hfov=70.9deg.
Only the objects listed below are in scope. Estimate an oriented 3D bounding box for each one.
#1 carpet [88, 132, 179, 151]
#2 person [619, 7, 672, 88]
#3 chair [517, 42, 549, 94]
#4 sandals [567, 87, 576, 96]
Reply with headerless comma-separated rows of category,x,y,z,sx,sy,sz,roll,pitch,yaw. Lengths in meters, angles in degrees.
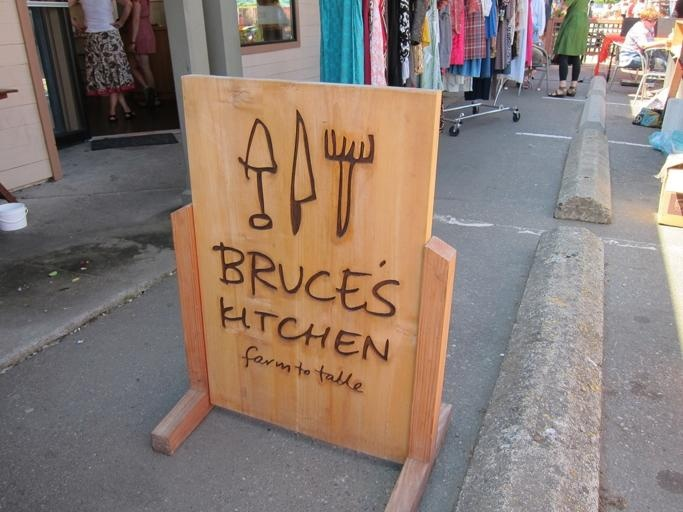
carpet,-2.814,-1.589,6.523,1.188,0.049,0.802,-7,27,-13
person,6.110,-4.145,9.631,0.888,1.580,3.486,13,29,28
chair,4.374,-4.291,10.710,0.614,0.877,4.456,9,28,20
sandals,4.542,-3.263,9.478,0.172,0.209,0.146,3,25,11
